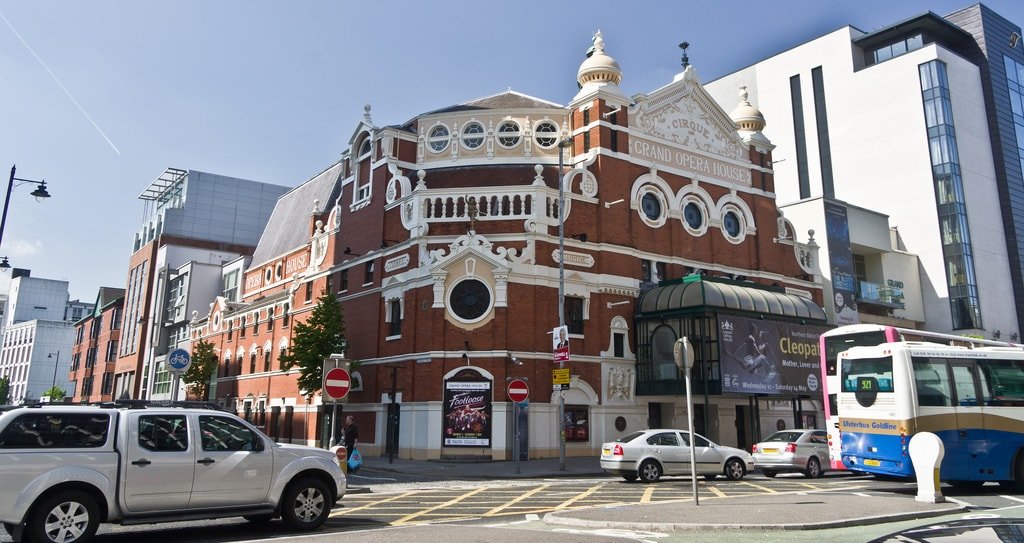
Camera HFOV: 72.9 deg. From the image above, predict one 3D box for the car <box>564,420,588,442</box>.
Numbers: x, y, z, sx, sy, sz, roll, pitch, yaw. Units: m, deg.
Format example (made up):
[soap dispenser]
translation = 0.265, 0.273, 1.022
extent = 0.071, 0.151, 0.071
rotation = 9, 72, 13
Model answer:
[car]
translation = 4.880, 11.862, 51.381
extent = 1.373, 0.801, 1.862
rotation = 3, -21, -8

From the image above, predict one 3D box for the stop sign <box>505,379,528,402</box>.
[stop sign]
translation = 0.422, 7.435, 43.813
extent = 1.005, 1.375, 1.318
rotation = -2, -15, 6
